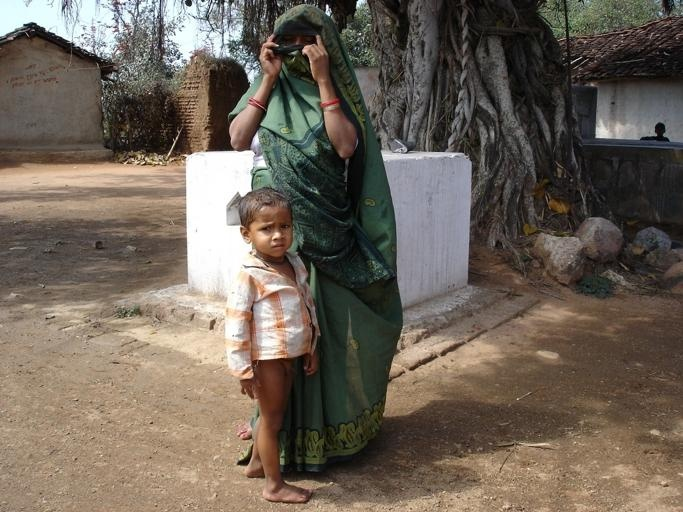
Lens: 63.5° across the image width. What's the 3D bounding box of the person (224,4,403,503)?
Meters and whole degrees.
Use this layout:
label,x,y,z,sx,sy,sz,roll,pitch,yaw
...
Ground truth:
label,x,y,z,sx,sy,sz,roll,pitch,yaw
person,-0.103,-0.049,2.696,0.780,2.265,0.399,0,9,5
